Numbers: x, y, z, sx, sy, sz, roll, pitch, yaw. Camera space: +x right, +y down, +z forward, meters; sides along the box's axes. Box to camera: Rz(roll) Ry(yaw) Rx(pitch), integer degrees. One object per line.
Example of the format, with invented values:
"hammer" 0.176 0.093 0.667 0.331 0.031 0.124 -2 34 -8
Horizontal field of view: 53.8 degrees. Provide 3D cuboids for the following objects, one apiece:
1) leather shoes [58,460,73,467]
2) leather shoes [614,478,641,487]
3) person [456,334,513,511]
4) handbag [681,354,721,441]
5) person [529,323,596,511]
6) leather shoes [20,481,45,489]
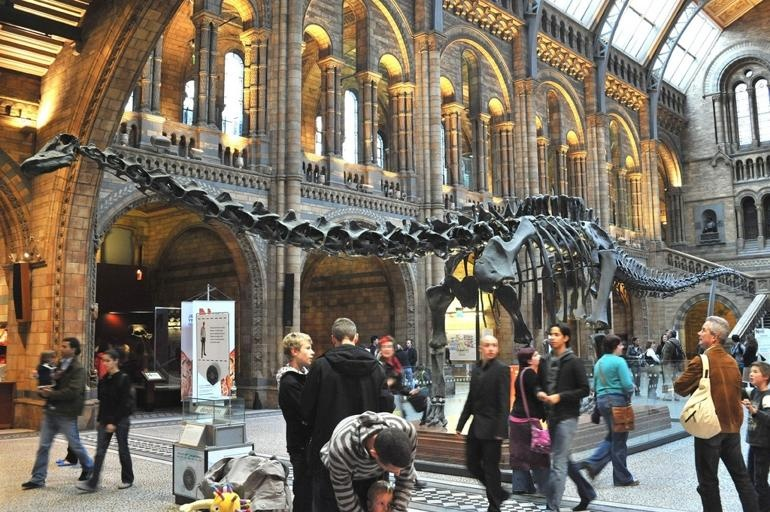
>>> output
"leather shoes" -5.427 3.553 12.959 0.305 0.102 0.089 2 -11 11
"leather shoes" 3.683 3.452 11.621 0.418 0.150 0.131 -2 -8 0
"person" 1.417 2.314 10.476 0.429 2.368 0.531 4 -12 -29
"handbag" 3.960 1.784 9.647 0.456 1.055 0.229 -6 -11 21
"person" 2.522 2.265 10.728 0.759 2.628 0.528 -3 -10 1
"leather shoes" -5.451 3.550 11.773 0.351 0.129 0.121 8 -6 -22
